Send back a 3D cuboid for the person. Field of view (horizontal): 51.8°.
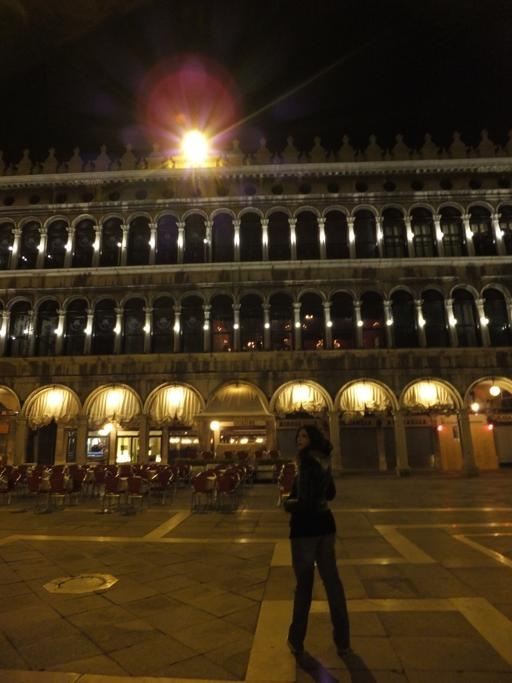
[{"bbox_3d":[0.522,1.780,4.767,0.512,2.026,0.652,-3,-13,7],"label":"person"}]
